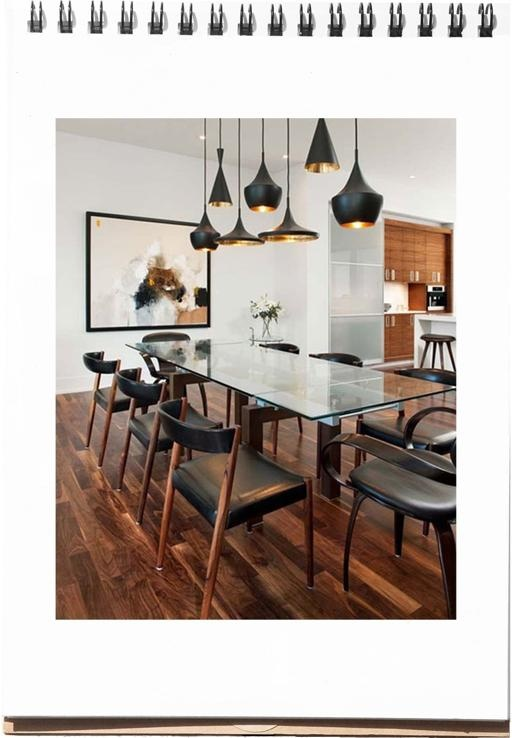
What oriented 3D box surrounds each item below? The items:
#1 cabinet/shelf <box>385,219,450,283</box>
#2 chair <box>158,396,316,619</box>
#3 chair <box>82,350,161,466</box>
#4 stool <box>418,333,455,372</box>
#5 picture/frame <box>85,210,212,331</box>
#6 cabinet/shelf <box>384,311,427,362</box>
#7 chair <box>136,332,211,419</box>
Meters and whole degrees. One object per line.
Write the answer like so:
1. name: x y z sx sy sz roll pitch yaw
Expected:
1. cabinet/shelf: 2.228 -1.570 7.150 0.340 0.780 1.588 6 9 39
2. chair: -0.079 0.372 1.619 0.414 0.564 0.424 -6 14 -21
3. chair: -0.726 0.252 2.848 0.332 0.472 0.313 -5 29 -42
4. stool: 1.795 -0.186 5.247 0.260 0.383 0.352 1 4 41
5. picture/frame: -1.084 -0.963 5.039 1.116 0.981 0.043 -8 11 -40
6. cabinet/shelf: 1.824 -0.411 6.519 0.608 0.622 0.341 -2 3 -26
7. chair: -0.621 0.069 3.934 0.604 0.889 0.586 -2 4 -23
